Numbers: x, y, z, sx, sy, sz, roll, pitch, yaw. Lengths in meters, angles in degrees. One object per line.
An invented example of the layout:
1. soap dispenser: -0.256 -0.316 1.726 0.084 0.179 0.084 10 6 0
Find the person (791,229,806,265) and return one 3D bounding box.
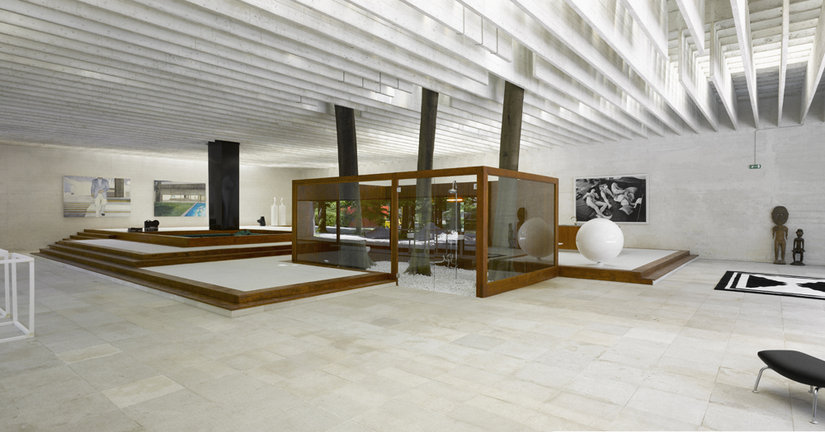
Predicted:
1. person: 13.208 1.059 14.126 0.309 1.236 0.534 -1 5 41

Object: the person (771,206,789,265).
1. person: 12.676 0.662 14.236 0.446 1.992 0.527 -1 5 38
